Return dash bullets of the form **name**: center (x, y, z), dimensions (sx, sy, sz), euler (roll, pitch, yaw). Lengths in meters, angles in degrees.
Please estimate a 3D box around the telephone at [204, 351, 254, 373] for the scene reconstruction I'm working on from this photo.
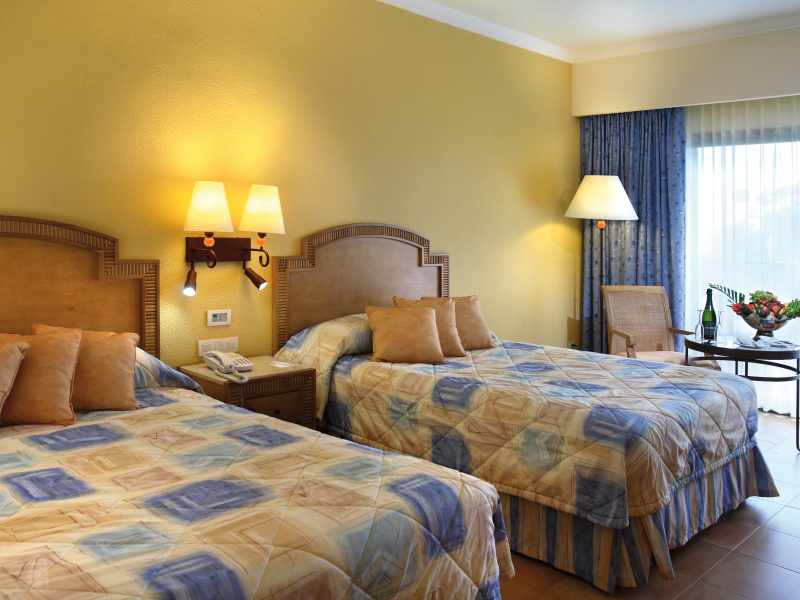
- **telephone**: center (-1.090, 0.388, 3.518), dimensions (0.218, 0.069, 0.161), euler (4, 5, 40)

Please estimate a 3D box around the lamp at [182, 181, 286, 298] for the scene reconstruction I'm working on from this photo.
- **lamp**: center (-1.132, -0.405, 3.701), dimensions (0.857, 0.803, 0.494), euler (-1, -1, -43)
